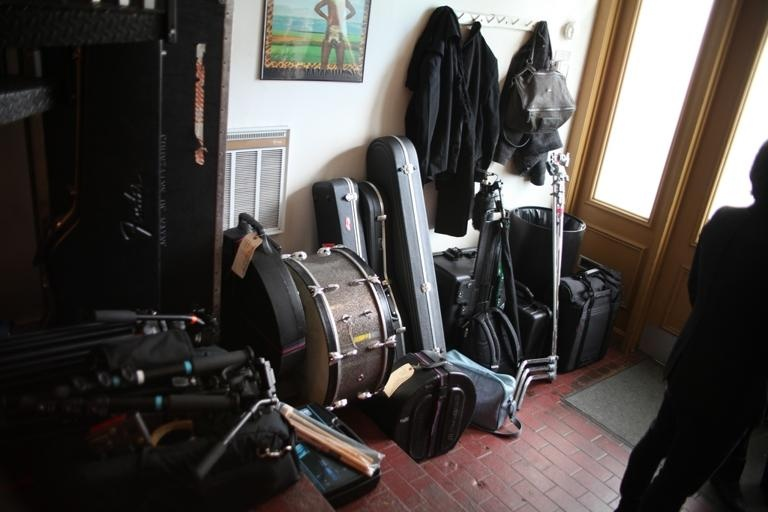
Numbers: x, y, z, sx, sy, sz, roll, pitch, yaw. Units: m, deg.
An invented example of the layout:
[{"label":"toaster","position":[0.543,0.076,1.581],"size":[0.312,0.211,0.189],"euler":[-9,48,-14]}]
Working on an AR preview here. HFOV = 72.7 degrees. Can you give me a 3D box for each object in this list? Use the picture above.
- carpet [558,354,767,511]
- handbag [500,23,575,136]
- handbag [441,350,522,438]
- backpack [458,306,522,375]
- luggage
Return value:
[{"label":"carpet","position":[1.832,1.078,3.523],"size":[0.733,0.194,0.792],"euler":[44,40,13]},{"label":"handbag","position":[1.086,-1.296,3.791],"size":[0.559,0.790,0.406],"euler":[-19,31,-28]},{"label":"handbag","position":[0.580,0.850,3.188],"size":[0.204,0.300,0.442],"euler":[-22,34,-33]},{"label":"backpack","position":[0.714,0.570,3.523],"size":[0.269,0.481,0.344],"euler":[9,21,43]},{"label":"luggage","position":[1.511,0.431,3.962],"size":[0.491,0.684,0.388],"euler":[-14,27,-37]}]
